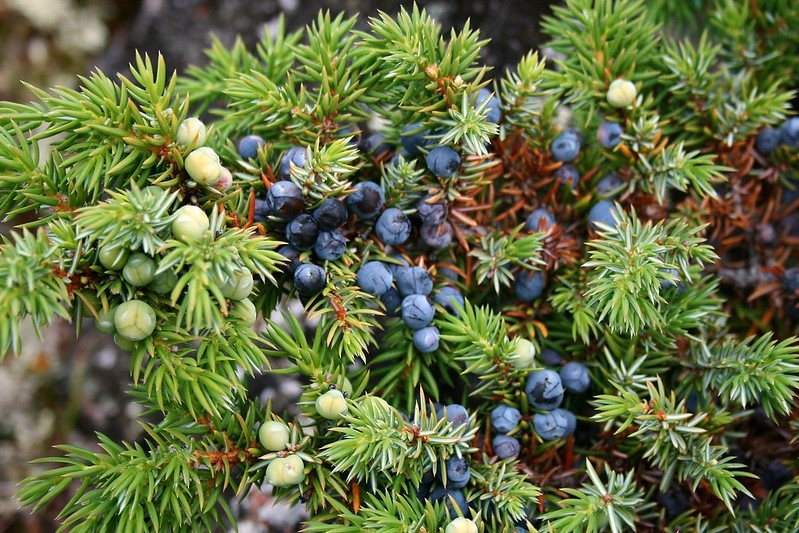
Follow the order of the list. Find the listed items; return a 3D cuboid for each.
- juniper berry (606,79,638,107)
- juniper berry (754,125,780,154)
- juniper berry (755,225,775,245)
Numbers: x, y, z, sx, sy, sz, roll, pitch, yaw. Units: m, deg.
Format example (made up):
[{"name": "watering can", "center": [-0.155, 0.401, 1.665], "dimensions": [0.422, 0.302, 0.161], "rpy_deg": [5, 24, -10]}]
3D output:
[{"name": "juniper berry", "center": [0.580, -0.449, 1.961], "dimensions": [0.081, 0.075, 0.071], "rpy_deg": [5, 84, 3]}, {"name": "juniper berry", "center": [1.013, -0.345, 2.072], "dimensions": [0.069, 0.064, 0.060], "rpy_deg": [7, 84, 3]}, {"name": "juniper berry", "center": [1.021, -0.087, 2.113], "dimensions": [0.049, 0.026, 0.055], "rpy_deg": [3, 89, -7]}]
